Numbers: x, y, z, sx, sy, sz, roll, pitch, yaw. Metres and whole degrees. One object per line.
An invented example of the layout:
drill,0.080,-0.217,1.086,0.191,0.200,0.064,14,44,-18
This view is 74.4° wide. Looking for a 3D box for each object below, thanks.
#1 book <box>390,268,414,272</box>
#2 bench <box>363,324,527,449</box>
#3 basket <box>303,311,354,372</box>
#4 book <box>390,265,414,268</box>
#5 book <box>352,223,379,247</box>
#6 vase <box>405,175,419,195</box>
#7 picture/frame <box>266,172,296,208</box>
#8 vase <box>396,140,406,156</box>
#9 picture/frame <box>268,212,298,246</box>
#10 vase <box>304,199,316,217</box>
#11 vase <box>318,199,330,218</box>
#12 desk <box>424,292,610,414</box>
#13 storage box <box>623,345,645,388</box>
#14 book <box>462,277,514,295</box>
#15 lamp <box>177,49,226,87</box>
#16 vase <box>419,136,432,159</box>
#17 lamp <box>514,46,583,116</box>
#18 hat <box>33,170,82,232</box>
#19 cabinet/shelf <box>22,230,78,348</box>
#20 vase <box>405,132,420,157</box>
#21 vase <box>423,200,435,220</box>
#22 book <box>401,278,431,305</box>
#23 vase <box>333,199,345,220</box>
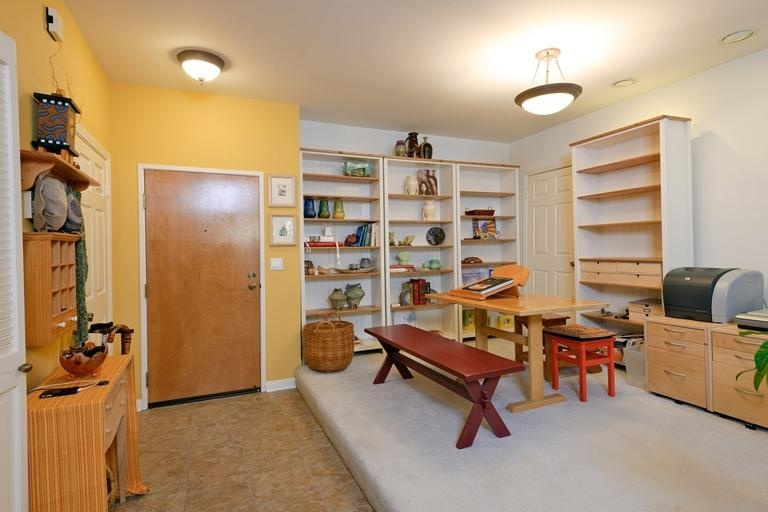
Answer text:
book,0.215,0.174,6.442,0.315,0.059,0.080,-2,3,-27
bench,0.468,1.115,4.548,0.600,0.754,1.700,-2,3,-31
basket,-0.698,0.965,5.564,0.580,0.506,0.555,3,-7,-23
book,0.224,0.126,6.530,0.296,0.050,0.259,0,2,4
book,-0.235,-0.260,6.321,0.286,0.341,0.378,2,3,-40
vase,0.350,-0.914,6.519,0.242,0.253,0.224,-1,-1,16
picture/frame,-1.162,-0.724,5.582,0.445,0.450,0.033,1,-2,-27
vase,0.207,-1.369,6.468,0.155,0.234,0.310,-1,2,1
picture/frame,-1.143,-0.303,5.587,0.424,0.431,0.033,1,-2,-27
vase,-0.876,-0.572,5.911,0.118,0.239,0.106,-1,3,-4
vase,-0.729,-0.572,6.037,0.135,0.242,0.206,-1,3,-8
desk,1.214,0.690,4.879,1.080,1.098,1.866,-2,1,-17
storage box,2.497,1.109,5.034,0.183,0.352,0.196,0,3,19
book,0.980,0.282,4.883,0.398,0.155,0.345,-1,2,-21
lamp,-1.737,-1.753,4.795,0.428,0.230,0.402,5,5,-1
vase,0.532,-1.404,6.572,0.158,0.337,0.296,-1,3,2
lamp,1.541,-1.673,4.738,0.547,0.464,0.552,5,5,39
hat,-2.360,-0.378,3.660,0.157,0.411,0.451,-1,2,-4
cabinet/shelf,-2.310,0.212,3.458,0.261,0.863,0.911,-1,0,-20
vase,0.360,-1.439,6.536,0.186,0.362,0.294,-1,3,3
vase,0.577,-0.594,6.646,0.154,0.253,0.227,-1,3,1
book,0.422,0.459,6.501,0.332,0.397,0.418,4,-7,-26
vase,-0.558,-0.561,6.083,0.126,0.246,0.152,-1,3,-5
